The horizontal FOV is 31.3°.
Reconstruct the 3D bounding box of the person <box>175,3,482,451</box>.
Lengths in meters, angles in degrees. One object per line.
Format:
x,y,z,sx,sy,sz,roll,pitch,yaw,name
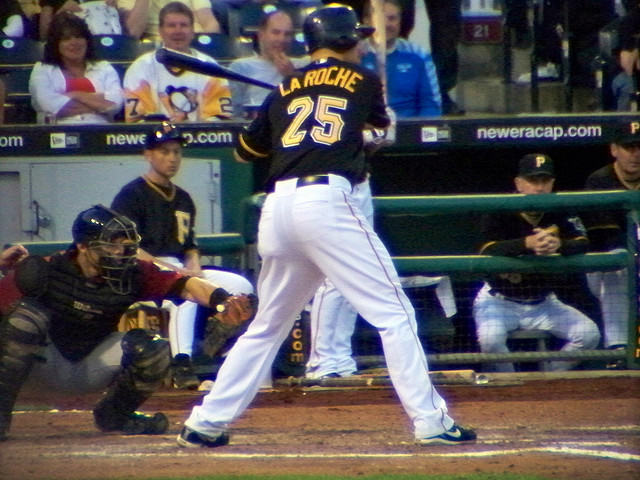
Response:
0.006,-0.059,6.029,1.459,2.315,0.532,-2,8,4,person

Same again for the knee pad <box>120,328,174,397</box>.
-0.959,0.679,6.323,0.264,0.363,0.195,-4,7,-11,knee pad

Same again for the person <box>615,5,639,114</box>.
2.095,-1.184,7.818,0.157,0.600,0.260,-1,8,12,person

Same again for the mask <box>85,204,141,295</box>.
-1.140,0.059,6.282,0.286,0.489,0.149,-2,8,-1,mask

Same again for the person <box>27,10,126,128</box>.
-1.632,-1.159,7.816,0.587,0.727,0.348,-5,8,-22,person

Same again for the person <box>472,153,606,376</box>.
1.407,0.151,7.410,0.853,1.401,0.560,-2,8,5,person

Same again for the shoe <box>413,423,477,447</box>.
0.601,1.018,5.964,0.419,0.096,0.112,-1,-2,-11,shoe

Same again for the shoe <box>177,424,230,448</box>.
-0.610,1.038,6.051,0.302,0.071,0.124,1,1,-29,shoe
